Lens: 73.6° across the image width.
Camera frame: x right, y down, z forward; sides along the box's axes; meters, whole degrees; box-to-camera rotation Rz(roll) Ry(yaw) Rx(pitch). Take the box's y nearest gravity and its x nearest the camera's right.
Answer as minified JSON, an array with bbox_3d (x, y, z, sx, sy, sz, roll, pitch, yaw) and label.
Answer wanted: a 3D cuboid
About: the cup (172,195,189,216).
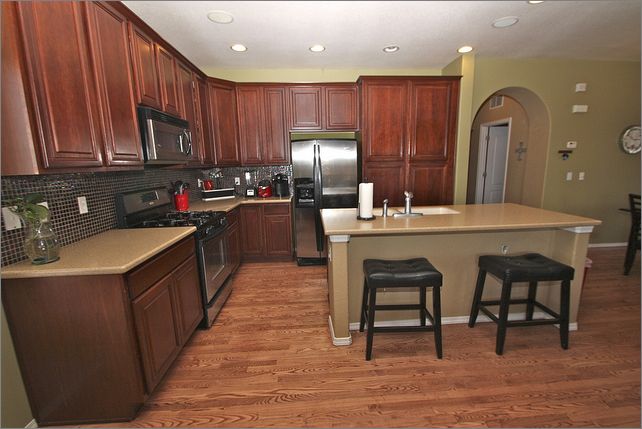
[{"bbox_3d":[-1.600,-0.125,5.018,0.236,0.228,0.219,1,2,0],"label":"cup"}]

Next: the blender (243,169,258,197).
[{"bbox_3d":[-1.023,-0.461,6.287,0.211,0.371,0.304,-4,11,-9],"label":"blender"}]

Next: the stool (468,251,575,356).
[{"bbox_3d":[1.709,0.854,4.503,0.996,1.107,1.010,-1,4,-1],"label":"stool"}]

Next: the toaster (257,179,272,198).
[{"bbox_3d":[-0.820,-0.379,6.188,0.227,0.242,0.307,-4,10,-8],"label":"toaster"}]

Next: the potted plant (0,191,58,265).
[{"bbox_3d":[-2.446,0.119,3.602,0.372,0.588,0.170,1,13,17],"label":"potted plant"}]

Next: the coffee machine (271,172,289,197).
[{"bbox_3d":[-0.595,-0.427,6.164,0.256,0.328,0.246,-2,11,0],"label":"coffee machine"}]

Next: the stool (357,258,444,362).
[{"bbox_3d":[0.743,0.903,4.427,1.028,0.943,0.943,-1,2,-1],"label":"stool"}]

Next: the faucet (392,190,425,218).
[{"bbox_3d":[1.055,-0.140,5.150,0.451,0.336,0.138,0,11,-3],"label":"faucet"}]

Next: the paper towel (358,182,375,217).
[{"bbox_3d":[0.444,-0.143,4.316,0.144,0.376,0.116,-2,12,3],"label":"paper towel"}]
